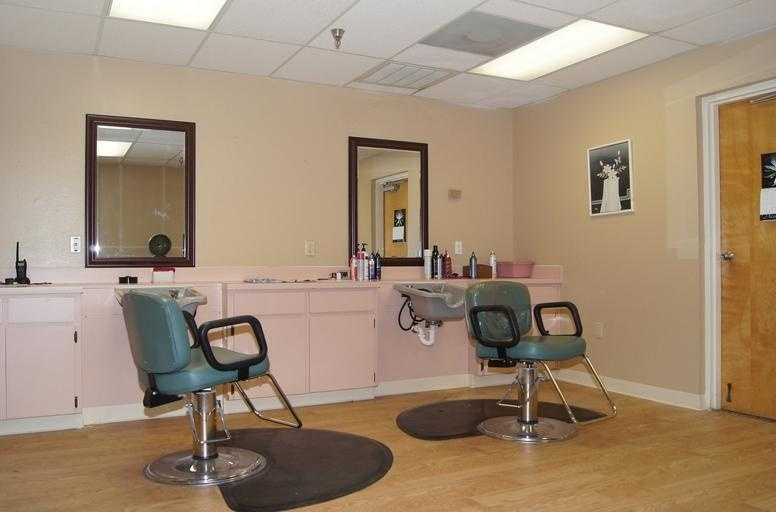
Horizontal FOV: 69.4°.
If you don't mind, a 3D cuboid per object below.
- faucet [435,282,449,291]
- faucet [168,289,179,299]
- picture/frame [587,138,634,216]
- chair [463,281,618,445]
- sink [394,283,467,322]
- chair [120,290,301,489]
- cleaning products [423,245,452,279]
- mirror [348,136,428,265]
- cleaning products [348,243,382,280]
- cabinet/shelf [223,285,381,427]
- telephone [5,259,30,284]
[{"bbox_3d":[0.526,0.307,5.492,0.091,0.080,0.062,-1,2,2],"label":"faucet"},{"bbox_3d":[-1.732,0.310,4.513,0.078,0.058,0.071,-5,-7,29],"label":"faucet"},{"bbox_3d":[2.158,-0.756,5.449,0.097,0.703,0.514,-4,8,-28],"label":"picture/frame"},{"bbox_3d":[1.134,0.861,4.970,1.152,1.470,1.345,3,-4,-44],"label":"chair"},{"bbox_3d":[0.400,0.467,5.284,0.676,0.373,0.556,0,7,-2],"label":"sink"},{"bbox_3d":[-1.240,0.887,4.018,1.178,1.244,0.937,0,-4,-25],"label":"chair"},{"bbox_3d":[0.485,0.086,5.857,0.343,0.363,0.292,1,-2,-12],"label":"cleaning products"},{"bbox_3d":[0.008,-0.621,5.804,0.931,1.193,0.193,-3,8,-22],"label":"mirror"},{"bbox_3d":[-0.225,0.063,5.530,0.328,0.342,0.406,0,7,-1],"label":"cleaning products"},{"bbox_3d":[-0.791,0.862,4.810,1.203,0.922,0.411,1,-5,-24],"label":"cabinet/shelf"},{"bbox_3d":[-3.051,0.133,4.609,0.169,0.185,0.208,-5,8,-33],"label":"telephone"}]
